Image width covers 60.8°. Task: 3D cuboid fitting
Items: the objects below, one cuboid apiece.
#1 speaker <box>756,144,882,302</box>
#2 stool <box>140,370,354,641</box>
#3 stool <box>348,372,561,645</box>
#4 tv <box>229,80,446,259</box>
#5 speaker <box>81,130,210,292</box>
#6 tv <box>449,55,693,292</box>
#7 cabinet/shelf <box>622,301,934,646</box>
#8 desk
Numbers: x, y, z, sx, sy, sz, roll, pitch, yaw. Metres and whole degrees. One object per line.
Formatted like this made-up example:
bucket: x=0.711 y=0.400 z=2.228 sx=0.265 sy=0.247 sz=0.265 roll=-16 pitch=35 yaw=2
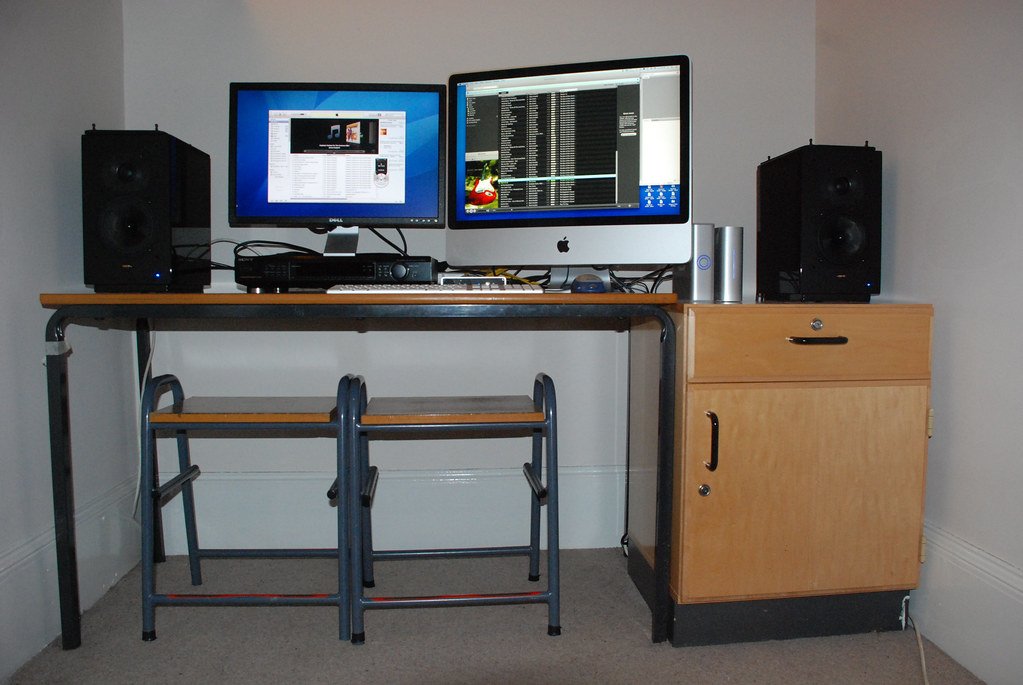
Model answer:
speaker: x=1.076 y=-0.416 z=3.169 sx=0.317 sy=0.537 sz=0.441 roll=1 pitch=3 yaw=-11
stool: x=-0.892 y=0.554 z=3.084 sx=0.672 sy=0.855 sz=0.539 roll=1 pitch=3 yaw=-8
stool: x=-0.203 y=0.530 z=3.011 sx=0.705 sy=0.833 sz=0.480 roll=0 pitch=4 yaw=-6
tv: x=-0.631 y=-0.653 z=3.127 sx=0.717 sy=0.493 sz=0.086 roll=0 pitch=2 yaw=-3
speaker: x=-1.223 y=-0.443 z=2.962 sx=0.453 sy=0.545 sz=0.264 roll=-6 pitch=12 yaw=-32
tv: x=0.204 y=-0.596 z=3.025 sx=0.883 sy=0.696 sz=0.284 roll=0 pitch=0 yaw=5
cabinet/shelf: x=0.884 y=0.385 z=3.142 sx=0.933 sy=1.199 sz=0.620 roll=1 pitch=6 yaw=-15
desk: x=-0.532 y=0.434 z=3.098 sx=1.932 sy=1.110 sz=0.743 roll=1 pitch=-4 yaw=-3
